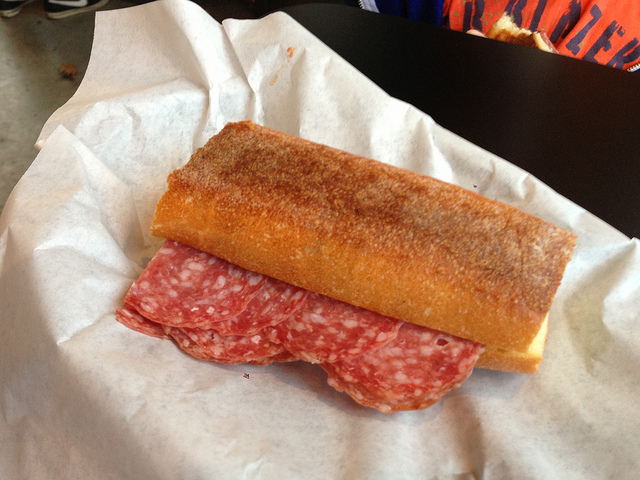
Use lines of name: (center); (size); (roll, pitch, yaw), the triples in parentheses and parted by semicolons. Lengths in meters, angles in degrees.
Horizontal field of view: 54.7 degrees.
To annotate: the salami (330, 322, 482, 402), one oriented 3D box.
salami: (0.255, 0.365, 1.816); (0.288, 0.070, 0.278); (16, 42, 21)
